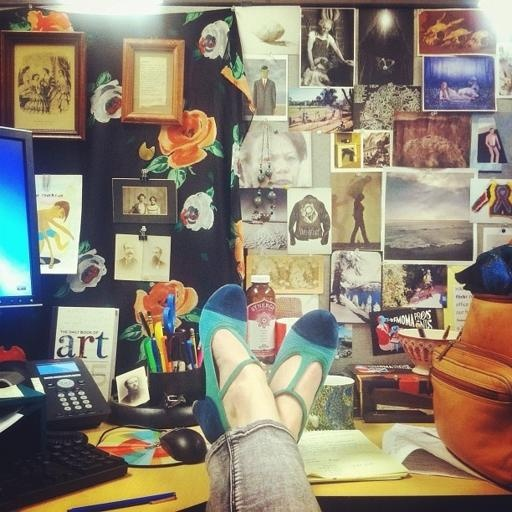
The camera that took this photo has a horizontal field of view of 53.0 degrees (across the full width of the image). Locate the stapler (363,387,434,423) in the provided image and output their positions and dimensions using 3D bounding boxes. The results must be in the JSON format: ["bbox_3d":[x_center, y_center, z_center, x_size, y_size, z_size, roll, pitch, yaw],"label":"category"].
[{"bbox_3d":[0.310,0.325,1.117,0.100,0.039,0.086,1,0,3],"label":"stapler"}]

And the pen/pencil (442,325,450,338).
[{"bbox_3d":[0.440,0.177,1.200,0.006,0.032,0.005,26,10,38],"label":"pen/pencil"}]

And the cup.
[{"bbox_3d":[0.159,0.320,1.136,0.090,0.112,0.106,0,0,-17],"label":"cup"}]

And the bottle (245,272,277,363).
[{"bbox_3d":[0.003,0.140,1.184,0.063,0.199,0.064,8,14,-2],"label":"bottle"}]

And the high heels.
[{"bbox_3d":[-0.060,0.219,1.067,0.108,0.329,0.086,7,-22,-20],"label":"high heels"}]
